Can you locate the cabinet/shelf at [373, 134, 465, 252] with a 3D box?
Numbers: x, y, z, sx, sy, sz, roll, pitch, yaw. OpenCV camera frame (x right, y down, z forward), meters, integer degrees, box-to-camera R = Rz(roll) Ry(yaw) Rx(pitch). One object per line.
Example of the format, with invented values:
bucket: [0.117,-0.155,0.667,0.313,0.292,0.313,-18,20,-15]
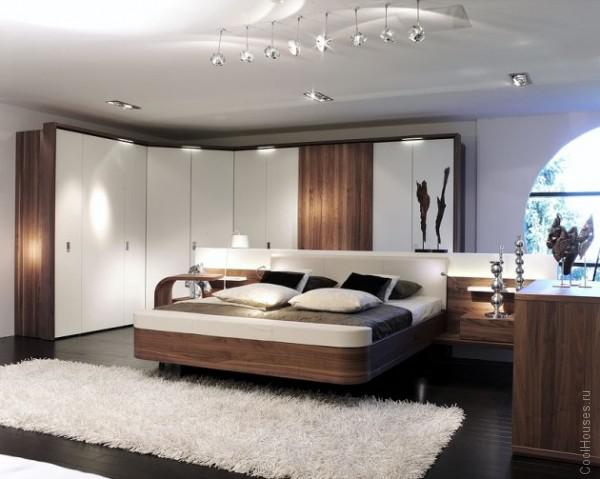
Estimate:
cabinet/shelf: [1.557,-0.596,6.512,1.134,1.512,0.359,1,4,9]

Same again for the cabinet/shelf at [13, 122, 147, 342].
cabinet/shelf: [-2.940,-0.098,6.502,0.732,2.669,1.471,2,4,33]
